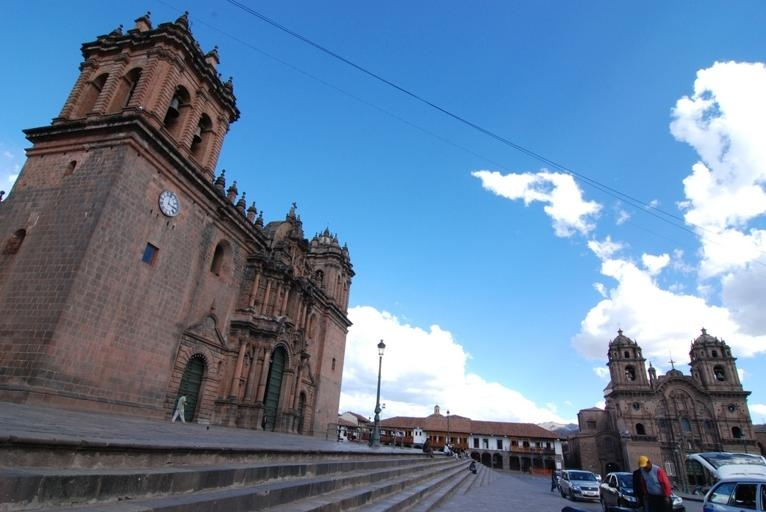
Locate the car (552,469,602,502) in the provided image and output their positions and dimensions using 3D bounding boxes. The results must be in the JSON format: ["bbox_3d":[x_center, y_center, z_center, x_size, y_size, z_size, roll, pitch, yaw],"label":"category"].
[{"bbox_3d":[9.529,11.179,19.865,1.491,1.197,2.292,-2,-26,11],"label":"car"}]
